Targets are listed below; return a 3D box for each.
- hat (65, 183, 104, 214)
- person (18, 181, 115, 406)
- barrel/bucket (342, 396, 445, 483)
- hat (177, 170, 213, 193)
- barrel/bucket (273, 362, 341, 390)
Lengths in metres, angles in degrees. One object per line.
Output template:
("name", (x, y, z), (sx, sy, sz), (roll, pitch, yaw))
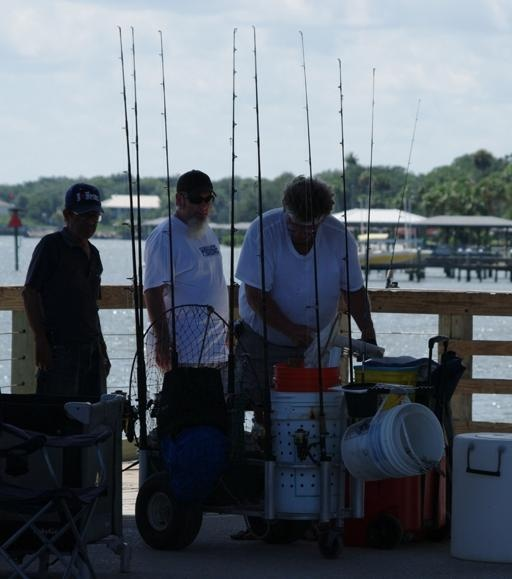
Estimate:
("hat", (-0.871, -0.459, 9.345), (0.118, 0.118, 0.179), (-1, 11, -29))
("person", (-0.940, 0.004, 9.325), (0.527, 1.063, 0.177), (-1, 2, -42))
("barrel/bucket", (0.632, 0.741, 8.450), (0.377, 0.428, 0.357), (2, -21, 1))
("hat", (-0.306, -0.519, 9.193), (0.098, 0.097, 0.139), (-4, 0, -30))
("barrel/bucket", (0.231, 0.419, 8.570), (0.302, 0.122, 0.217), (1, 2, 4))
